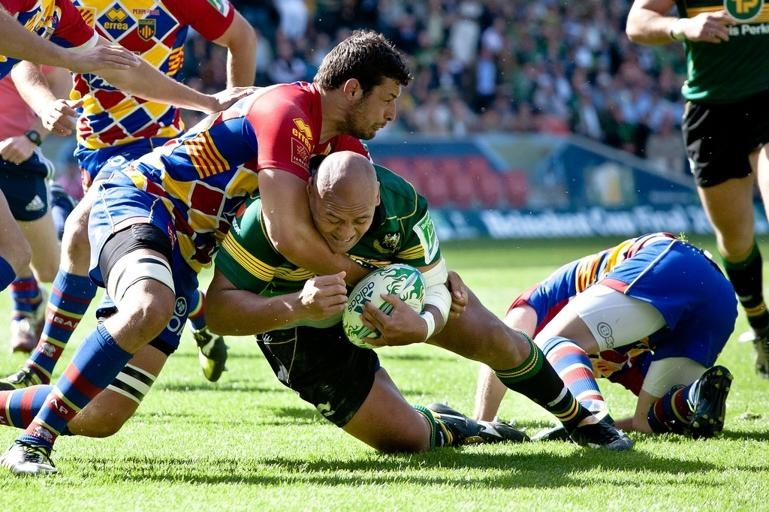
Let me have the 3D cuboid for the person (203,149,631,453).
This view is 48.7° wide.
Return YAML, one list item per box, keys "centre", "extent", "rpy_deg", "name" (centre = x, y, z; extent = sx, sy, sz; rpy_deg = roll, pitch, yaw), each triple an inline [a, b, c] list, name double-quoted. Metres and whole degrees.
- centre: [0.254, 0.254, 4.289]
  extent: [2.086, 1.512, 0.978]
  rpy_deg: [5, 26, 12]
  name: "person"

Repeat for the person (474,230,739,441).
- centre: [1.329, 0.551, 5.192]
  extent: [1.793, 1.311, 1.061]
  rpy_deg: [-14, -29, 42]
  name: "person"

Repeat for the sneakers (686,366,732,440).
- centre: [1.738, 0.769, 4.530]
  extent: [0.165, 0.443, 0.204]
  rpy_deg: [16, -1, 1]
  name: "sneakers"

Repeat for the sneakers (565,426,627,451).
- centre: [1.112, 0.914, 4.378]
  extent: [0.251, 0.104, 0.118]
  rpy_deg: [-2, -2, 42]
  name: "sneakers"

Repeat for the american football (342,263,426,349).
- centre: [0.072, 0.162, 4.208]
  extent: [0.293, 0.264, 0.422]
  rpy_deg: [-39, -2, -37]
  name: "american football"
